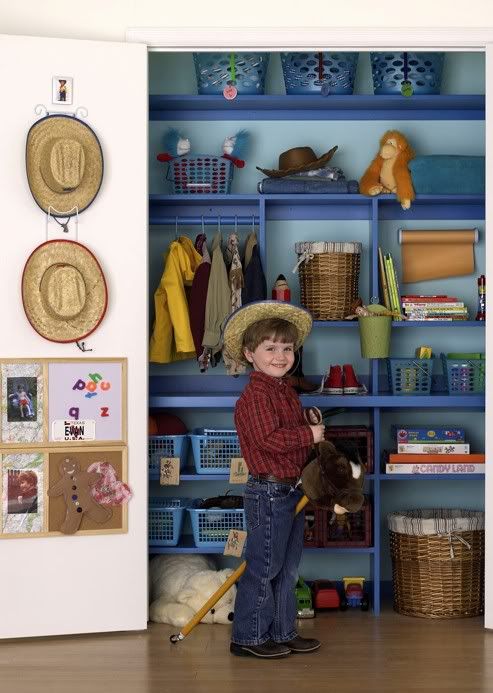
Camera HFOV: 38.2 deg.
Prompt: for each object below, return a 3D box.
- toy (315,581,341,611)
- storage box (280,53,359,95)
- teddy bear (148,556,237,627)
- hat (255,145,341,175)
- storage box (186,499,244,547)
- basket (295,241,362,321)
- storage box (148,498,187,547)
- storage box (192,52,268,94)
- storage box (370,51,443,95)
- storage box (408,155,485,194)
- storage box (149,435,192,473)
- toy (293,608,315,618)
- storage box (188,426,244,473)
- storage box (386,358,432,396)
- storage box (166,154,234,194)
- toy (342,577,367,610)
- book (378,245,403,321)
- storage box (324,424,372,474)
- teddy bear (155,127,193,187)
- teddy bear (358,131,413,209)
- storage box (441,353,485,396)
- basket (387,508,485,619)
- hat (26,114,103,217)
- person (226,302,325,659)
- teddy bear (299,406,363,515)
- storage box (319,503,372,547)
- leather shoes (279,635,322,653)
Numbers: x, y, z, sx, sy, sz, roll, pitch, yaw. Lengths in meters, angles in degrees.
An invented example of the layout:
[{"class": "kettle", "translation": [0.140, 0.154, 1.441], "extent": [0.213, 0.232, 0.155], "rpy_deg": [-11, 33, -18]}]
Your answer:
[{"class": "toy", "translation": [0.337, 1.026, 2.910], "extent": [0.096, 0.074, 0.091], "rpy_deg": [0, -17, 2]}, {"class": "storage box", "translation": [0.302, -1.137, 2.967], "extent": [0.264, 0.235, 0.201], "rpy_deg": [-1, 5, 0]}, {"class": "teddy bear", "translation": [-0.226, 0.965, 2.835], "extent": [0.321, 0.168, 0.447], "rpy_deg": [0, -1, -8]}, {"class": "hat", "translation": [0.210, -0.771, 2.999], "extent": [0.190, 0.061, 0.197], "rpy_deg": [-10, 19, 30]}, {"class": "storage box", "translation": [-0.131, 0.721, 2.872], "extent": [0.243, 0.137, 0.169], "rpy_deg": [1, -8, -6]}, {"class": "basket", "translation": [0.306, -0.274, 3.042], "extent": [0.330, 0.329, 0.324], "rpy_deg": [0, -2, -1]}, {"class": "storage box", "translation": [-0.327, 0.727, 2.921], "extent": [0.149, 0.179, 0.114], "rpy_deg": [0, -1, -5]}, {"class": "storage box", "translation": [-0.066, -1.135, 2.962], "extent": [0.303, 0.184, 0.140], "rpy_deg": [0, -1, -4]}, {"class": "storage box", "translation": [0.659, -1.129, 3.005], "extent": [0.293, 0.157, 0.178], "rpy_deg": [-2, 6, -8]}, {"class": "storage box", "translation": [0.823, -0.702, 2.924], "extent": [0.305, 0.161, 0.047], "rpy_deg": [0, -1, -3]}, {"class": "storage box", "translation": [-0.325, 0.442, 2.917], "extent": [0.148, 0.104, 0.167], "rpy_deg": [-1, -13, 4]}, {"class": "toy", "translation": [0.232, 1.045, 2.790], "extent": [0.051, 0.017, 0.038], "rpy_deg": [-1, 0, -9]}, {"class": "storage box", "translation": [-0.129, 0.436, 2.900], "extent": [0.218, 0.130, 0.162], "rpy_deg": [1, -5, -8]}, {"class": "storage box", "translation": [0.675, 0.128, 2.990], "extent": [0.175, 0.130, 0.138], "rpy_deg": [0, -6, 1]}, {"class": "storage box", "translation": [-0.196, -0.717, 2.967], "extent": [0.175, 0.118, 0.212], "rpy_deg": [0, 7, 1]}, {"class": "toy", "translation": [0.439, 1.026, 2.956], "extent": [0.088, 0.101, 0.115], "rpy_deg": [-1, -12, 3]}, {"class": "book", "translation": [0.608, -0.264, 3.047], "extent": [0.063, 0.247, 0.345], "rpy_deg": [-10, -10, 9]}, {"class": "storage box", "translation": [0.433, 0.410, 2.944], "extent": [0.251, 0.215, 0.174], "rpy_deg": [0, -5, -1]}, {"class": "teddy bear", "translation": [-0.320, -0.831, 3.090], "extent": [0.153, 0.191, 0.121], "rpy_deg": [-3, 15, -23]}, {"class": "teddy bear", "translation": [0.593, -0.739, 2.975], "extent": [0.218, 0.347, 0.147], "rpy_deg": [0, -1, 28]}, {"class": "storage box", "translation": [0.909, 0.121, 3.051], "extent": [0.208, 0.160, 0.146], "rpy_deg": [2, -5, -1]}, {"class": "basket", "translation": [0.730, 0.855, 2.862], "extent": [0.428, 0.337, 0.402], "rpy_deg": [3, -7, -25]}, {"class": "hat", "translation": [-0.649, -0.623, 2.511], "extent": [0.285, 0.333, 0.093], "rpy_deg": [-3, 11, -16]}, {"class": "person", "translation": [0.084, 0.446, 2.454], "extent": [0.332, 1.194, 0.301], "rpy_deg": [0, -1, -3]}, {"class": "teddy bear", "translation": [0.285, 0.437, 2.346], "extent": [0.226, 0.235, 0.129], "rpy_deg": [1, -1, -12]}, {"class": "storage box", "translation": [0.410, 0.752, 2.903], "extent": [0.285, 0.186, 0.152], "rpy_deg": [1, -12, -4]}, {"class": "leather shoes", "translation": [0.178, 1.002, 2.398], "extent": [0.135, 0.050, 0.047], "rpy_deg": [-2, -2, 0]}]
